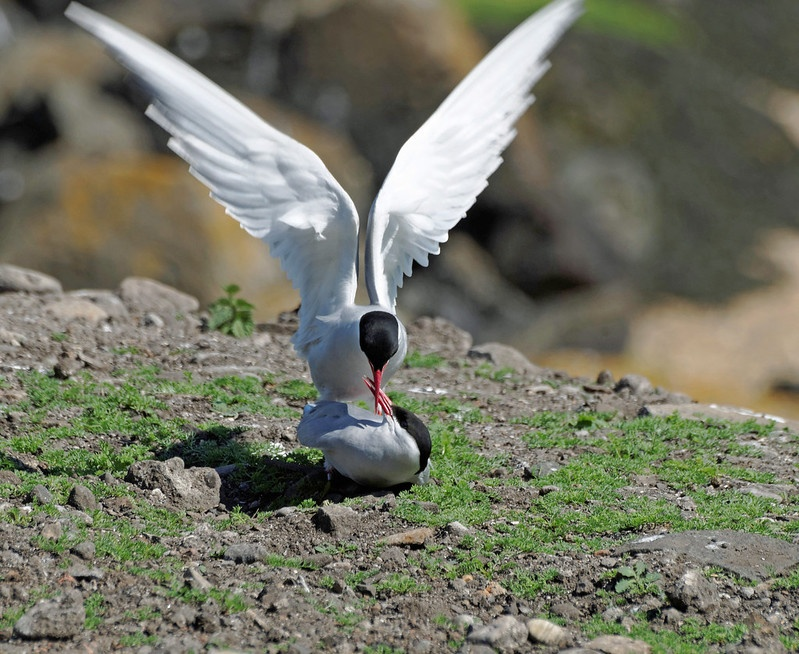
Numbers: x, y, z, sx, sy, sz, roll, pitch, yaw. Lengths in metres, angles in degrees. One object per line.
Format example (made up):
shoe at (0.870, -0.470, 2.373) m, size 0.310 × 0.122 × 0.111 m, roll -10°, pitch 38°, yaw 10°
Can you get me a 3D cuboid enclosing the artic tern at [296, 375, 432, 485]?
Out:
artic tern at (-0.211, 0.888, 10.733) m, size 1.017 × 0.690 × 0.747 m, roll 31°, pitch 1°, yaw 23°
